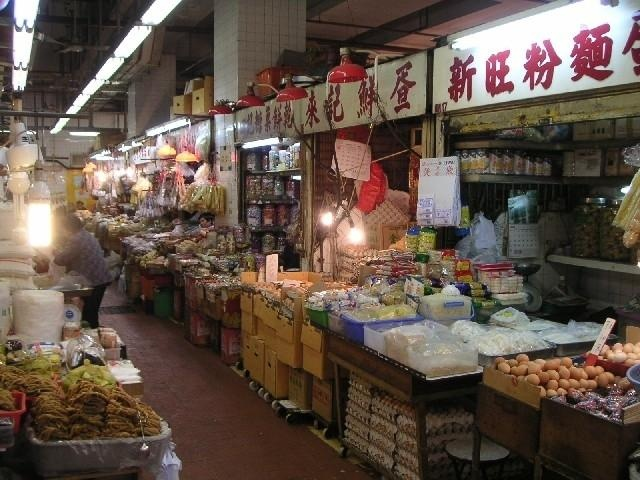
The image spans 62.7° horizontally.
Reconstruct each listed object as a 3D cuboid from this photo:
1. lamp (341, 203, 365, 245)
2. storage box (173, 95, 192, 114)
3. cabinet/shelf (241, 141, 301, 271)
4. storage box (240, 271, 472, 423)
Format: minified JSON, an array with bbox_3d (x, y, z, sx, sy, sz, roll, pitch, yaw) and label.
[{"bbox_3d":[0.427,-0.164,6.463,0.335,0.480,0.357,-2,6,-12],"label":"lamp"},{"bbox_3d":[-2.720,-2.699,10.396,0.298,0.371,0.553,-1,1,-34],"label":"storage box"},{"bbox_3d":[-0.692,-0.515,7.928,0.700,1.860,1.478,-4,7,-28],"label":"cabinet/shelf"},{"bbox_3d":[-0.025,0.759,5.792,1.148,1.442,2.103,1,2,-27],"label":"storage box"}]
